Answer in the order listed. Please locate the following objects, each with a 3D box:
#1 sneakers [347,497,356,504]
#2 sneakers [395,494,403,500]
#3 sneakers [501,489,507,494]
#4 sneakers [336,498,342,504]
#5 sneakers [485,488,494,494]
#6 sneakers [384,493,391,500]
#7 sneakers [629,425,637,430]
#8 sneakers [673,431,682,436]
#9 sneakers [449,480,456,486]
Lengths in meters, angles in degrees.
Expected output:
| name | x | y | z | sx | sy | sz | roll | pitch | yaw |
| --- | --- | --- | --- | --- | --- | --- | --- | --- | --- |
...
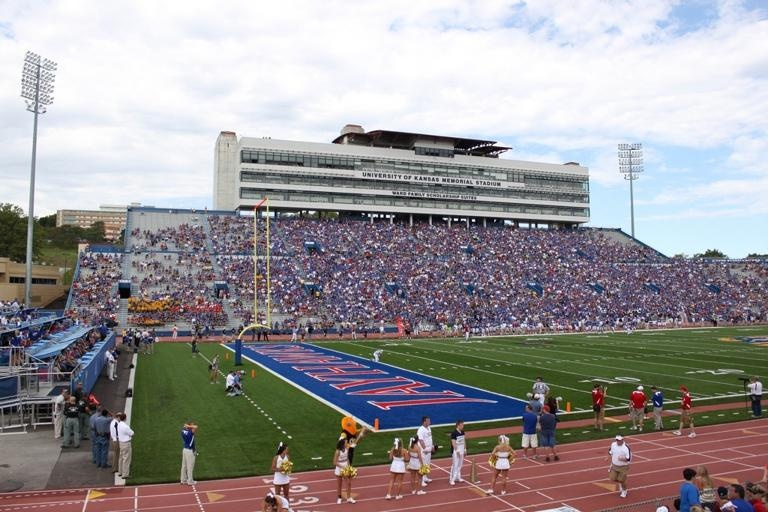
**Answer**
| name | x | y | z | sx | sy | sz | roll | pitch | yaw |
| --- | --- | --- | --- | --- | --- | --- | --- | --- | --- |
| sneakers | -1.111 | 8.420 | 24.667 | 0.282 | 0.109 | 0.131 | -2 | -2 | 15 |
| sneakers | 0.549 | 8.427 | 25.046 | 0.307 | 0.117 | 0.175 | 3 | -3 | -40 |
| sneakers | 4.232 | 8.348 | 25.352 | 0.183 | 0.152 | 0.197 | 1 | -2 | 9 |
| sneakers | -1.507 | 8.444 | 24.690 | 0.179 | 0.149 | 0.168 | 2 | -2 | -6 |
| sneakers | 3.757 | 8.363 | 25.424 | 0.126 | 0.108 | 0.274 | 2 | -3 | -2 |
| sneakers | 0.142 | 8.393 | 24.961 | 0.146 | 0.155 | 0.244 | 3 | 4 | -2 |
| sneakers | 10.668 | 7.361 | 30.617 | 0.138 | 0.144 | 0.392 | -1 | -8 | -7 |
| sneakers | 12.288 | 7.441 | 30.045 | 0.133 | 0.131 | 0.318 | 4 | -2 | -35 |
| sneakers | 2.475 | 8.202 | 25.899 | 0.223 | 0.144 | 0.200 | 2 | -2 | -3 |
